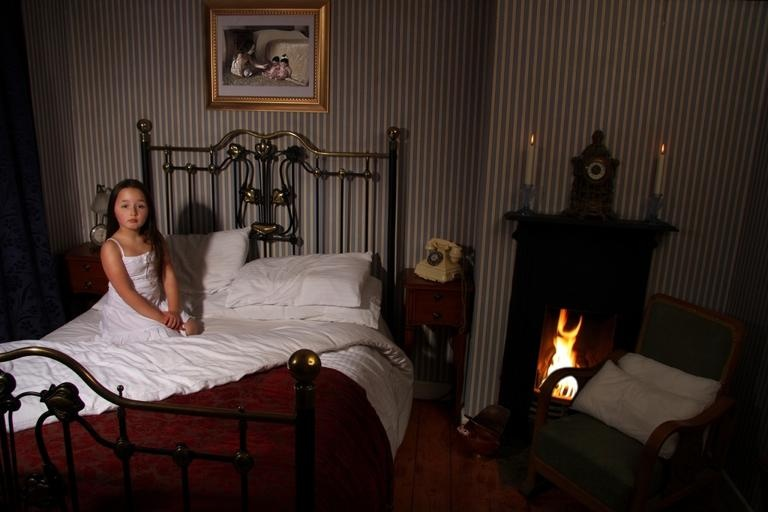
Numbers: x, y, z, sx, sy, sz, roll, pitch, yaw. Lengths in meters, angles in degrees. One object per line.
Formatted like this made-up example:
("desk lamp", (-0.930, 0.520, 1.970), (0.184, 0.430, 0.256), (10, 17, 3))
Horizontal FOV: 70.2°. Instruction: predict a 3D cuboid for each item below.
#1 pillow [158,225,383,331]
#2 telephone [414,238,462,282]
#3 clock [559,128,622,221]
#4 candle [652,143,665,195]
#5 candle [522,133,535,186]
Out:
("pillow", (-0.704, 0.181, 3.495), (0.988, 0.342, 0.699), (-1, 18, -1))
("telephone", (0.370, 0.023, 3.614), (0.199, 0.272, 0.331), (-9, 16, -39))
("clock", (1.215, -0.474, 3.178), (0.273, 0.493, 0.128), (7, 15, 18))
("candle", (1.564, -0.489, 3.102), (0.057, 0.291, 0.151), (9, 16, 25))
("candle", (0.862, -0.566, 3.216), (0.068, 0.297, 0.123), (6, 15, 15))
